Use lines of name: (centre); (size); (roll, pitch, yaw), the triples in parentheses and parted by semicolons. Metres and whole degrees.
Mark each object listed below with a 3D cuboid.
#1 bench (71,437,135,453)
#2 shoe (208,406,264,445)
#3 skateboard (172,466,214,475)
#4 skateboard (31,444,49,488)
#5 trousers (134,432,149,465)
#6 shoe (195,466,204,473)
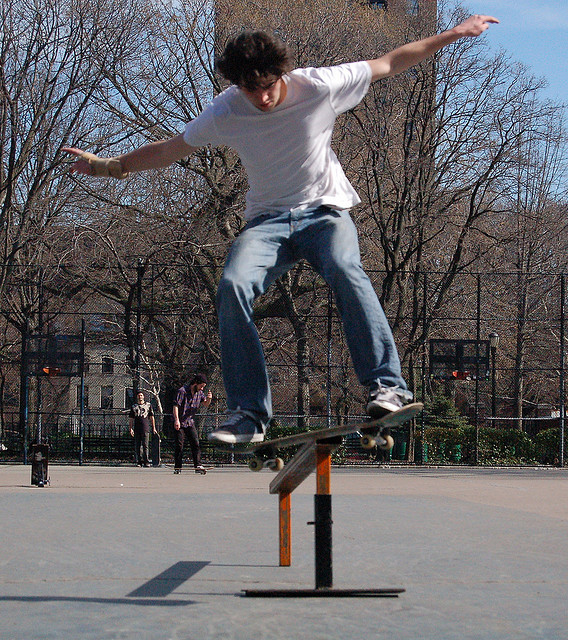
bench: (-3.914, 2.763, 30.599); (1.522, 0.357, 0.399); (-7, -9, 33)
shoe: (-0.459, 1.007, 13.236); (0.571, 0.361, 0.304); (0, -7, -14)
skateboard: (-1.680, 2.702, 24.582); (0.667, 0.116, 0.219); (-4, -1, 15)
skateboard: (-3.692, 2.194, 20.821); (0.254, 0.638, 0.340); (0, -7, -12)
trousers: (-2.762, 2.473, 26.596); (0.254, 0.590, 0.747); (-1, -7, -6)
shoe: (-1.463, 2.637, 24.399); (0.219, 0.149, 0.075); (1, 2, -2)
